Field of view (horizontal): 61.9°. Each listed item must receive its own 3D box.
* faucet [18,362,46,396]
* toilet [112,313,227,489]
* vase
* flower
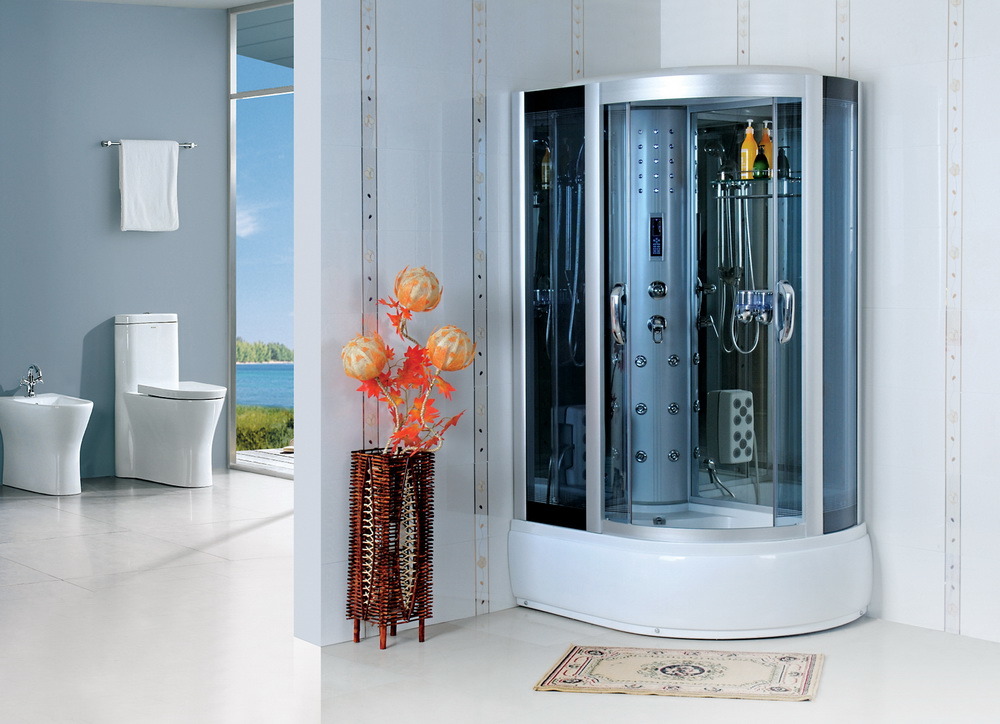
[{"bbox_3d":[-3.519,0.121,6.240,0.195,0.311,0.128,3,10,-39],"label":"faucet"},{"bbox_3d":[-2.549,0.282,6.378,0.970,1.279,0.412,4,5,41],"label":"toilet"},{"bbox_3d":[-0.451,0.755,3.394,0.349,0.805,0.235,-1,4,-11],"label":"vase"},{"bbox_3d":[-0.394,-0.015,3.469,0.512,0.762,0.438,-1,4,-12],"label":"flower"}]
